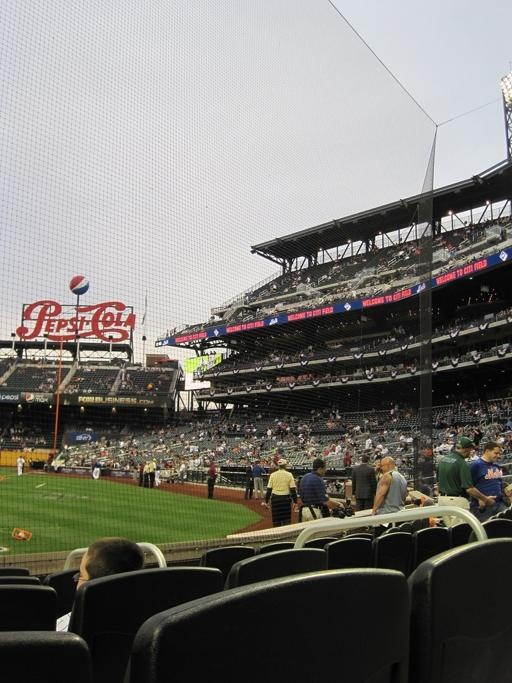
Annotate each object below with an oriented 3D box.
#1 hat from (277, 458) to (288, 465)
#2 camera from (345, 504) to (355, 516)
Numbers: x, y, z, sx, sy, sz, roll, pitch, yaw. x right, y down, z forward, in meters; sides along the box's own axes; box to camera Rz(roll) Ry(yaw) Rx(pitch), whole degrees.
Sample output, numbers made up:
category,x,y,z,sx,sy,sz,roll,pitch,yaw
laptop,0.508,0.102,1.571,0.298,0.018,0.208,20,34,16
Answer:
category,x,y,z,sx,sy,sz,roll,pitch,yaw
hat,0.250,1.107,6.619,0.065,0.061,0.081,6,3,-1
camera,1.027,1.844,7.914,0.080,0.096,0.249,1,-2,11
